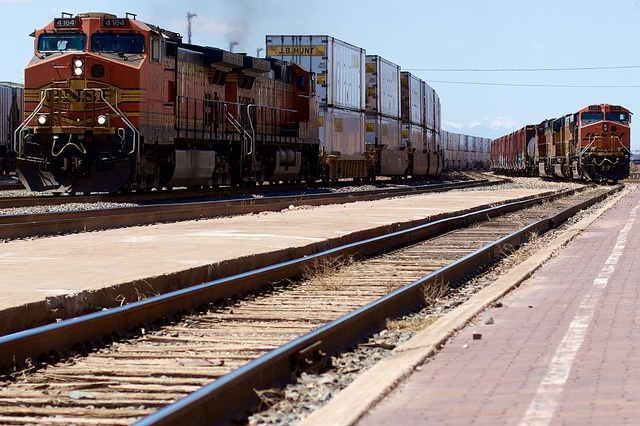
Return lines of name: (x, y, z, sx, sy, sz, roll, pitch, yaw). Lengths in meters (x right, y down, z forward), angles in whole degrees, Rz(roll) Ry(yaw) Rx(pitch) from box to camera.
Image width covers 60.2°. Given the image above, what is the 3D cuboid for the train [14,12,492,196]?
train: (-4.956, -5.134, 28.339, 4.269, 5.706, 23.382, 5, 10, 12)
